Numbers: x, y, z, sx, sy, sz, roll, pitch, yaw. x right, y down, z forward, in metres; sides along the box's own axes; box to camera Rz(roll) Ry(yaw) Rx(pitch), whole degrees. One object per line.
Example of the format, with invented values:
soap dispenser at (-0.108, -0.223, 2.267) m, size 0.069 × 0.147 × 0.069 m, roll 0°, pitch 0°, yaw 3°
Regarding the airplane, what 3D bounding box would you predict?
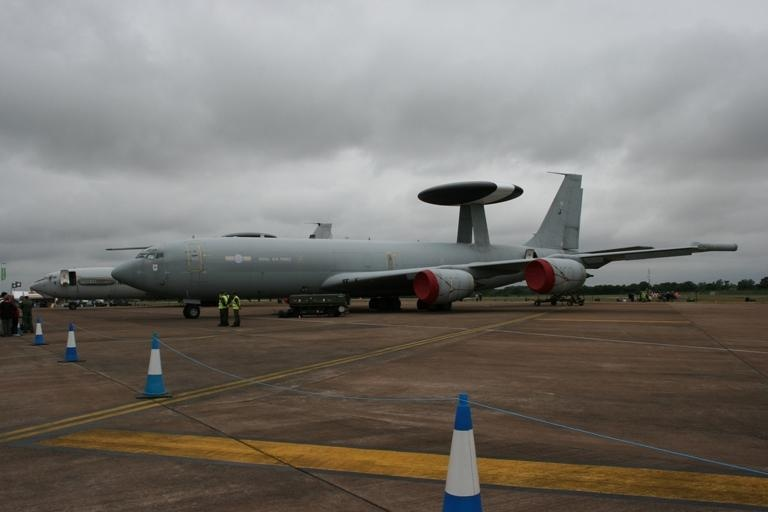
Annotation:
airplane at (1.594, -0.959, 32.633) m, size 27.261 × 7.900 × 12.196 m, roll 0°, pitch -1°, yaw 1°
